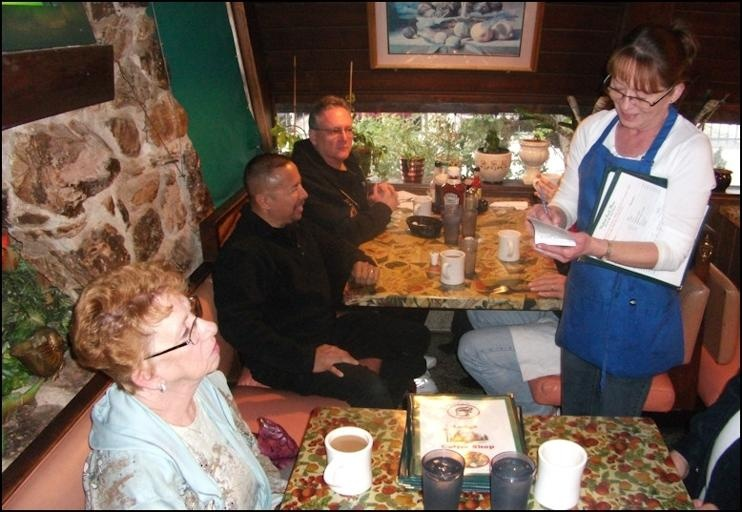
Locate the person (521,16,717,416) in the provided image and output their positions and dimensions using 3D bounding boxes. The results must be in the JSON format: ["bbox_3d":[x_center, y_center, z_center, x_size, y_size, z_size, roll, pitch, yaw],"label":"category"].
[{"bbox_3d":[0.929,-0.058,2.017,0.539,1.565,0.565,-14,29,-18],"label":"person"}]

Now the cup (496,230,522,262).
[{"bbox_3d":[0.689,-0.053,2.566,0.111,0.121,0.164,2,28,11],"label":"cup"}]

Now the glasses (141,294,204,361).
[{"bbox_3d":[-0.550,0.216,1.506,0.172,0.048,0.158,-21,24,2],"label":"glasses"}]

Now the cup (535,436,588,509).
[{"bbox_3d":[0.528,0.612,1.420,0.124,0.149,0.133,-3,26,1],"label":"cup"}]

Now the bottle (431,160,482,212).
[{"bbox_3d":[0.504,-0.467,3.285,0.434,0.393,0.233,1,22,-3],"label":"bottle"}]

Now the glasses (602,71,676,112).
[{"bbox_3d":[0.944,-0.588,1.799,0.233,0.110,0.106,10,29,25],"label":"glasses"}]

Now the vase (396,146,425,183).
[{"bbox_3d":[0.314,-0.708,3.924,0.273,0.271,0.258,2,16,7],"label":"vase"}]

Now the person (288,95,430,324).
[{"bbox_3d":[-0.135,-0.271,3.373,0.815,1.316,0.629,-1,23,-7],"label":"person"}]

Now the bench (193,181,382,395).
[{"bbox_3d":[-0.520,0.242,3.311,0.784,1.251,1.331,-1,29,-4],"label":"bench"}]

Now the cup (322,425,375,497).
[{"bbox_3d":[-0.061,0.595,1.507,0.125,0.125,0.182,4,21,9],"label":"cup"}]

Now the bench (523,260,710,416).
[{"bbox_3d":[1.113,0.344,2.524,0.745,0.661,0.654,2,36,7],"label":"bench"}]

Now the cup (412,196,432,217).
[{"bbox_3d":[0.309,-0.303,3.059,0.091,0.109,0.137,7,27,19],"label":"cup"}]

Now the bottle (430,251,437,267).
[{"bbox_3d":[0.310,0.013,2.474,0.047,0.057,0.057,2,19,3],"label":"bottle"}]

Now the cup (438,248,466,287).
[{"bbox_3d":[0.382,0.044,2.359,0.117,0.143,0.158,1,26,10],"label":"cup"}]

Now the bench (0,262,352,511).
[{"bbox_3d":[-0.477,0.508,1.852,0.727,1.014,1.185,-6,23,-7],"label":"bench"}]

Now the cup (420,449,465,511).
[{"bbox_3d":[0.193,0.606,1.364,0.143,0.188,0.123,0,28,2],"label":"cup"}]

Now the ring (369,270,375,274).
[{"bbox_3d":[0.009,0.071,2.344,0.021,0.016,0.005,1,-6,-29],"label":"ring"}]

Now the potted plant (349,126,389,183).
[{"bbox_3d":[-0.028,-0.738,3.687,0.377,0.351,0.379,-7,15,-22],"label":"potted plant"}]

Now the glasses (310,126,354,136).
[{"bbox_3d":[-0.252,-0.759,3.101,0.248,0.061,0.069,-2,26,2],"label":"glasses"}]

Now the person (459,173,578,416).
[{"bbox_3d":[0.735,0.335,2.622,0.690,1.109,0.470,-7,28,-10],"label":"person"}]
